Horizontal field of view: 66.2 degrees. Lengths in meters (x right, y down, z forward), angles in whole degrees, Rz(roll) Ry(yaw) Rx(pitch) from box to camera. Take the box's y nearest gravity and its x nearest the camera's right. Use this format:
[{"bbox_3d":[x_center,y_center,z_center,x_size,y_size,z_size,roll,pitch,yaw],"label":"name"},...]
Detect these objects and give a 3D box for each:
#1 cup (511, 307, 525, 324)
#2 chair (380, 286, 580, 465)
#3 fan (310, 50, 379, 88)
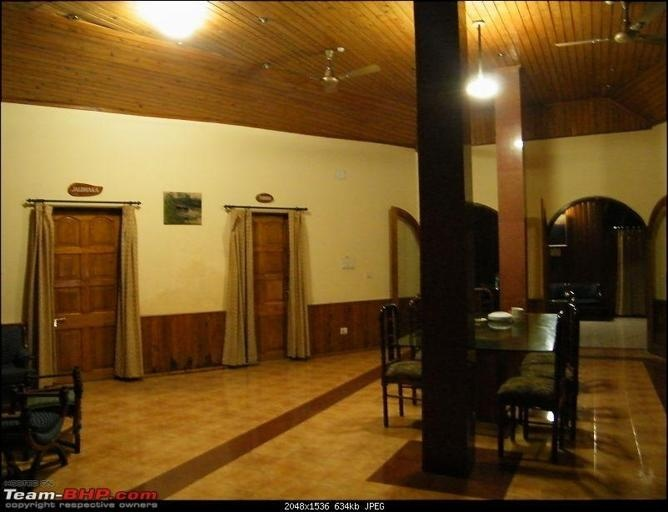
[{"bbox_3d":[2.055,0.665,5.708,0.210,0.189,0.161,1,-2,24],"label":"cup"},{"bbox_3d":[1.490,0.979,5.112,1.545,1.086,1.575,-1,-1,28],"label":"chair"},{"bbox_3d":[0.146,-2.672,7.272,0.628,0.222,0.638,-7,-6,33],"label":"fan"}]
